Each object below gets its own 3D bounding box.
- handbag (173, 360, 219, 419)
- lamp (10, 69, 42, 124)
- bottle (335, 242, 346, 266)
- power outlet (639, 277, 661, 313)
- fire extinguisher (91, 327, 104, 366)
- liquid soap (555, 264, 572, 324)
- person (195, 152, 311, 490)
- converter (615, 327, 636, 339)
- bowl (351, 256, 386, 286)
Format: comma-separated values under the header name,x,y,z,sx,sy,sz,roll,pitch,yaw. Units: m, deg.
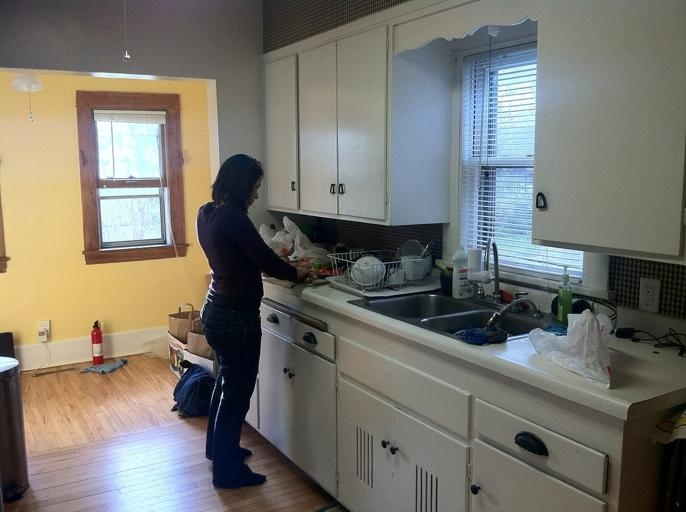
name,x,y,z,sx,sy,sz,roll,pitch,yaw
handbag,-1.101,1.015,3.851,0.244,0.443,0.434,19,3,-27
lamp,-2.419,-1.240,3.908,0.199,0.351,1.644,-7,13,-30
bottle,-0.036,-0.020,3.480,0.094,0.183,0.119,-1,1,-15
power outlet,1.279,0.163,2.128,0.080,0.137,0.031,8,14,39
fire extinguisher,-2.359,0.846,4.889,0.111,0.387,0.228,-6,12,-26
liquid soap,0.989,0.169,2.272,0.059,0.234,0.166,4,12,24
person,-0.554,0.421,2.932,0.487,1.951,0.324,-4,11,-18
converter,1.178,0.319,2.135,0.057,0.022,0.044,-4,16,5
bowl,0.138,0.091,2.842,0.189,0.158,0.095,0,11,3
